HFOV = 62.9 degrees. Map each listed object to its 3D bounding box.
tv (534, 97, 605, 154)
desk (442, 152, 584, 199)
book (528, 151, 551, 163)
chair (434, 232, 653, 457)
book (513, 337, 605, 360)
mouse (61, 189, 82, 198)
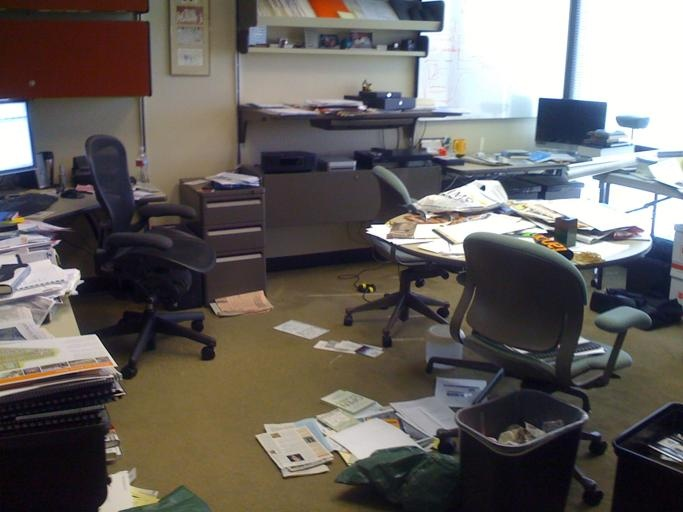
[{"bbox_3d":[2.037,-1.142,4.892,0.626,0.408,0.082,16,29,36],"label":"tv"},{"bbox_3d":[1.393,-0.655,4.512,0.639,0.498,0.217,-8,33,-17],"label":"desk"},{"bbox_3d":[1.741,-0.862,4.836,0.181,0.042,0.198,15,19,34],"label":"book"},{"bbox_3d":[0.917,0.338,2.624,0.798,0.870,0.933,-9,21,-41],"label":"chair"},{"bbox_3d":[1.046,0.428,2.496,0.252,0.028,0.169,-4,11,-15],"label":"book"},{"bbox_3d":[-1.713,-0.389,3.514,0.119,0.033,0.073,0,15,-9],"label":"mouse"}]
